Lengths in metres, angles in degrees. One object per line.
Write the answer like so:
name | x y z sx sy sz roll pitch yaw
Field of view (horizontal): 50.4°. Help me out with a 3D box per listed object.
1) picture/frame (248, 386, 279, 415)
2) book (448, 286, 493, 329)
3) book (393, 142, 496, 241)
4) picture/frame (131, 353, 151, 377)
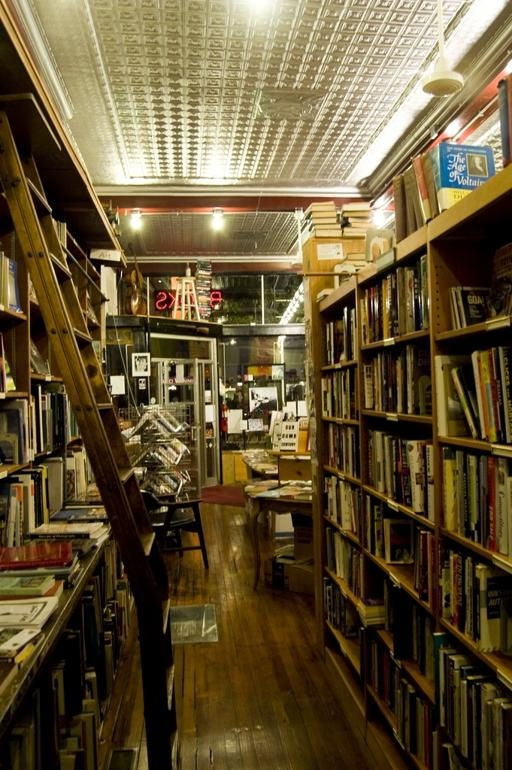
picture/frame | 0.105 0.308 9.894 0.400 0.533 0.063 -2 -10 -15
book | 0.579 -0.212 1.475 0.111 0.136 0.029 1 -18 -20
book | 0.600 -0.594 1.700 0.230 0.258 0.425 -1 -2 -5
picture/frame | -1.698 -0.293 7.988 0.285 0.440 0.028 0 -3 -1
